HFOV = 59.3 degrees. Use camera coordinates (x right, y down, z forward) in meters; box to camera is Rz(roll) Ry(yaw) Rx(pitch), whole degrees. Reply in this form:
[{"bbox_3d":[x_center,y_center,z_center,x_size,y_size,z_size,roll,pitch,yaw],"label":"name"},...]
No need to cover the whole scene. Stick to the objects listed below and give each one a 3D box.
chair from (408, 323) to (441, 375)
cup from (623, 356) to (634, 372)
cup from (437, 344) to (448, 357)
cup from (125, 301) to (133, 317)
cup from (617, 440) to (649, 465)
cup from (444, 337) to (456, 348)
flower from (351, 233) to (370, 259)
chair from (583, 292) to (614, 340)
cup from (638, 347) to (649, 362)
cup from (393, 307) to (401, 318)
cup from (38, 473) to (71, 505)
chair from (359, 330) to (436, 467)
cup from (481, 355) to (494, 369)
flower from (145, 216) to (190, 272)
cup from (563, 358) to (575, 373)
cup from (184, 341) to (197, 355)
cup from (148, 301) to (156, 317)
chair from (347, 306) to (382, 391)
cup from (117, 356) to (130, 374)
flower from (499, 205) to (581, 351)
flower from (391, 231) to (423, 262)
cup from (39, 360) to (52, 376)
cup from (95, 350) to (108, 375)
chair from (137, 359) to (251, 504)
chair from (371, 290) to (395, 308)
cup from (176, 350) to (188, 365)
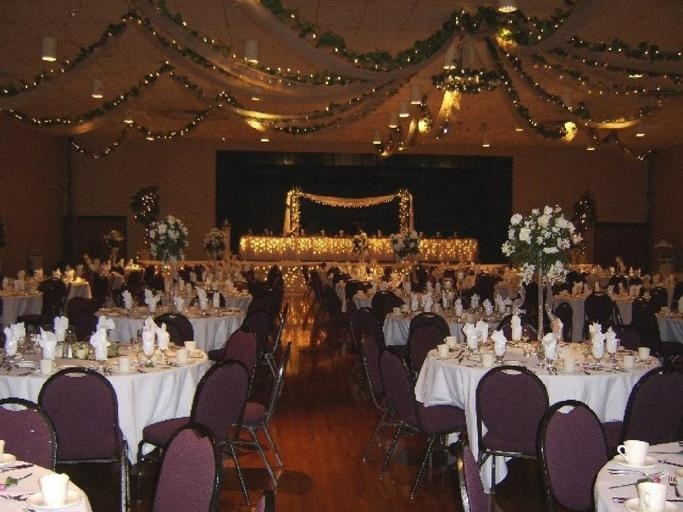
[{"bbox_3d":[0.834,0.980,6.453,0.387,0.631,0.449,3,4,4],"label":"chair"},{"bbox_3d":[2.300,0.873,4.834,0.090,0.108,0.094,1,-2,0],"label":"cup"},{"bbox_3d":[0.865,0.805,5.129,0.091,0.115,0.096,0,2,0],"label":"cup"},{"bbox_3d":[-2.714,0.666,7.618,0.087,0.156,0.089,9,41,-8],"label":"cup"},{"bbox_3d":[1.552,1.001,3.177,0.165,0.130,0.139,0,4,20],"label":"cup"},{"bbox_3d":[0.992,0.789,5.500,0.102,0.092,0.088,-2,-2,13],"label":"cup"},{"bbox_3d":[0.496,-0.258,16.409,0.475,0.692,0.458,14,37,33],"label":"flower"},{"bbox_3d":[3.804,0.828,8.901,0.407,0.517,1.129,6,11,23],"label":"chair"},{"bbox_3d":[2.555,0.825,5.058,0.098,0.118,0.103,3,2,0],"label":"cup"},{"bbox_3d":[0.733,0.748,8.041,0.079,0.088,0.083,2,-1,0],"label":"cup"},{"bbox_3d":[-1.294,1.044,2.712,0.112,0.131,0.135,0,-12,-3],"label":"cup"},{"bbox_3d":[0.330,1.239,5.829,0.868,1.538,0.828,-2,2,-5],"label":"chair"},{"bbox_3d":[1.187,0.856,4.876,0.095,0.089,0.092,-4,-1,0],"label":"cup"},{"bbox_3d":[-2.412,-0.180,8.299,0.471,0.761,0.568,-2,11,-20],"label":"flower"},{"bbox_3d":[1.761,0.850,4.656,0.084,0.107,0.089,2,-3,0],"label":"cup"},{"bbox_3d":[-1.334,0.802,5.262,0.069,0.085,0.112,2,13,6],"label":"cup"},{"bbox_3d":[-2.326,0.630,7.322,0.087,0.208,0.314,-1,11,-17],"label":"cup"},{"bbox_3d":[0.164,1.017,7.617,0.493,0.919,0.516,5,-5,-44],"label":"chair"},{"bbox_3d":[-1.653,0.816,4.528,0.104,0.128,0.104,-2,-8,0],"label":"cup"},{"bbox_3d":[1.837,0.136,5.578,0.634,1.100,0.659,-1,4,-35],"label":"flower"},{"bbox_3d":[1.277,-0.236,11.974,0.541,0.627,0.583,-2,11,-4],"label":"flower"},{"bbox_3d":[-2.212,0.830,4.483,0.091,0.115,0.099,0,-10,0],"label":"cup"},{"bbox_3d":[-1.883,0.831,4.686,0.131,0.156,0.147,0,-4,-7],"label":"cup"},{"bbox_3d":[-1.111,1.307,4.485,0.644,1.210,0.619,9,8,33],"label":"chair"},{"bbox_3d":[0.619,0.618,8.990,0.243,0.246,0.262,2,-19,-1],"label":"chair"},{"bbox_3d":[-1.301,0.815,4.865,0.082,0.091,0.109,0,-12,2],"label":"cup"}]
